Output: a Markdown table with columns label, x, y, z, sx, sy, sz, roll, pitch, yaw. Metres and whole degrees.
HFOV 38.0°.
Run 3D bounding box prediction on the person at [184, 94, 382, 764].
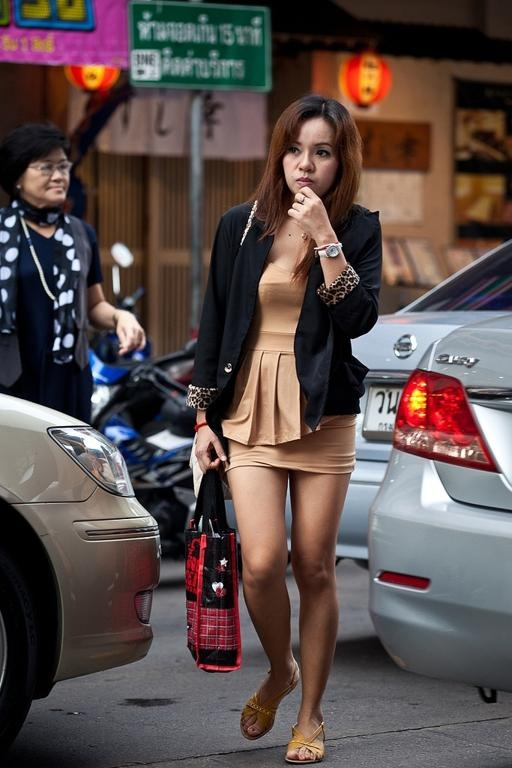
| label | x | y | z | sx | sy | sz | roll | pitch | yaw |
| --- | --- | --- | --- | --- | --- | --- | --- | --- | --- |
| person | 0.052 | 0.122 | 1.998 | 0.502 | 1.736 | 0.505 | 4 | 13 | 13 |

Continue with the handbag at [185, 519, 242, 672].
| label | x | y | z | sx | sy | sz | roll | pitch | yaw |
| --- | --- | --- | --- | --- | --- | --- | --- | --- | --- |
| handbag | -0.113 | 0.596 | 1.974 | 0.149 | 0.440 | 0.210 | 1 | 12 | -2 |

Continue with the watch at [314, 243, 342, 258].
| label | x | y | z | sx | sy | sz | roll | pitch | yaw |
| --- | --- | --- | --- | --- | --- | --- | --- | --- | --- |
| watch | 0.182 | -0.312 | 1.783 | 0.045 | 0.018 | 0.044 | -5 | -2 | -28 |

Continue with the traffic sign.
| label | x | y | z | sx | sy | sz | roll | pitch | yaw |
| --- | --- | --- | --- | --- | --- | --- | --- | --- | --- |
| traffic sign | -0.431 | -2.492 | 5.467 | 0.751 | 0.434 | 0.051 | -1 | 3 | -17 |

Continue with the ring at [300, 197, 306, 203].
| label | x | y | z | sx | sy | sz | roll | pitch | yaw |
| --- | --- | --- | --- | --- | --- | --- | --- | --- | --- |
| ring | 0.115 | -0.443 | 1.792 | 0.012 | 0.015 | 0.005 | 9 | 8 | 36 |
